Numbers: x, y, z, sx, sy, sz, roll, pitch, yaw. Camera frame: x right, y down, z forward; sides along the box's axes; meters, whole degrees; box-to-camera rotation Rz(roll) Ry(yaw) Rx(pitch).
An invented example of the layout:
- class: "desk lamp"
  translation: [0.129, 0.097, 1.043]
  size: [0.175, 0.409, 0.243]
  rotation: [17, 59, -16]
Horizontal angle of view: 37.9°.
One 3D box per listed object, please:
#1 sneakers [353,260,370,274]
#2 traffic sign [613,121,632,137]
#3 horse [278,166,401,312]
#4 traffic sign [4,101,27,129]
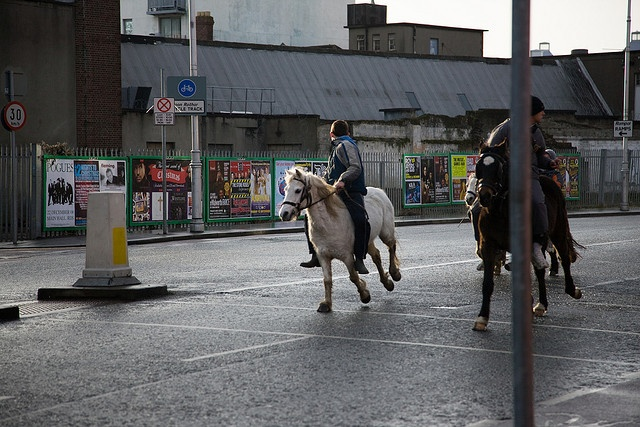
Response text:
- class: "sneakers"
  translation: [0.723, 0.926, 16.472]
  size: [0.220, 0.247, 0.316]
  rotation: [-1, 6, 2]
- class: "traffic sign"
  translation: [12.925, -3.637, 39.778]
  size: [0.815, 0.807, 0.128]
  rotation: [-1, 1, 16]
- class: "horse"
  translation: [0.451, 0.346, 17.088]
  size: [1.102, 2.494, 2.763]
  rotation: [3, 7, 32]
- class: "traffic sign"
  translation: [-8.637, -2.765, 26.310]
  size: [0.319, 0.823, 0.724]
  rotation: [2, 7, 28]
